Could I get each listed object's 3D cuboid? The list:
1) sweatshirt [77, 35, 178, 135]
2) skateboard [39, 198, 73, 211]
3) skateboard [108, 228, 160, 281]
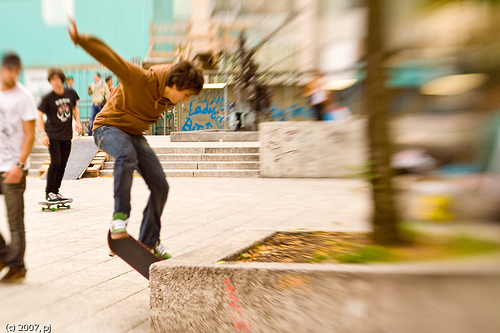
[{"bbox_3d":[-1.083,-0.709,3.322,0.798,0.849,0.579,-11,11,-21],"label":"sweatshirt"},{"bbox_3d":[-3.379,0.639,6.306,0.486,0.194,0.503,-9,10,-23],"label":"skateboard"},{"bbox_3d":[-0.991,0.714,3.096,0.314,0.413,0.247,-2,12,24],"label":"skateboard"}]
